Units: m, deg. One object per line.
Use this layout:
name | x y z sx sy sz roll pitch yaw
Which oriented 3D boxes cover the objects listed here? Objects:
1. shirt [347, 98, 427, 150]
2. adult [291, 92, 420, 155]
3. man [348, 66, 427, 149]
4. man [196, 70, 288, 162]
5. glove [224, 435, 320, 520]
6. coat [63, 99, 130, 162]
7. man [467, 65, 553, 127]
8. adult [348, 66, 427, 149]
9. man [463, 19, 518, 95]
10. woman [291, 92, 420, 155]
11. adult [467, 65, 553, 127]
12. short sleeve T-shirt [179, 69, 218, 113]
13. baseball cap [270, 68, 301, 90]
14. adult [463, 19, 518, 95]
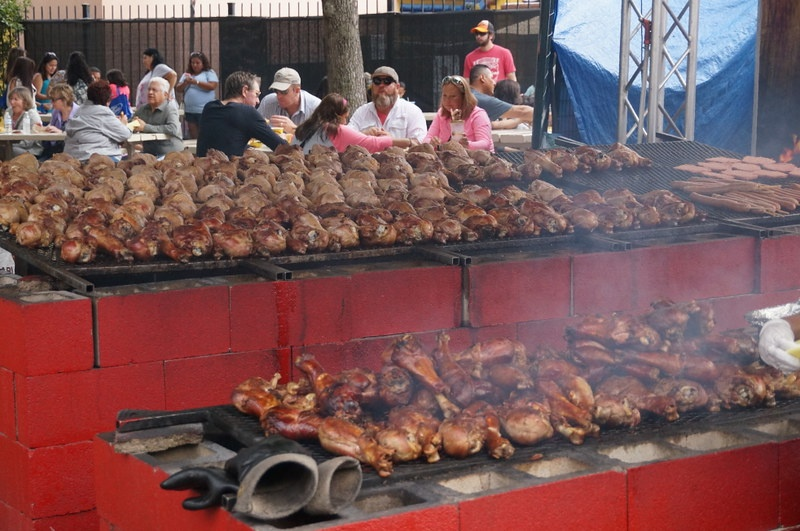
shirt | -0.109 -1.526 11.054 0.822 0.610 0.374 -11 -14 -5
adult | -0.393 -1.367 10.359 0.844 0.577 1.166 14 14 43
man | -0.138 -1.651 10.978 0.990 0.891 0.543 5 13 23
man | -1.582 -1.308 10.229 0.758 1.193 0.741 4 10 -19
glove | -0.637 0.944 4.935 0.424 0.235 0.660 -7 16 -10
coat | -3.505 -1.476 11.977 0.816 0.741 0.741 -6 3 -37
man | 1.266 -2.002 12.480 1.208 0.807 0.850 -7 11 -25
adult | -0.141 -1.652 10.977 1.013 0.893 0.543 6 14 24
man | 1.231 -2.774 14.362 0.818 1.176 0.532 -2 0 9
woman | -0.484 -1.352 10.140 0.976 0.492 0.713 -8 19 -28
adult | 1.263 -2.036 12.473 1.188 0.799 0.843 -13 18 -23
short sleeve T-shirt | -3.066 -2.655 15.612 0.669 0.646 0.409 5 12 16
baseball cap | -1.247 -2.076 11.473 0.248 0.202 0.355 13 15 29
adult | 1.233 -2.771 14.338 0.824 1.174 0.571 -2 0 8
